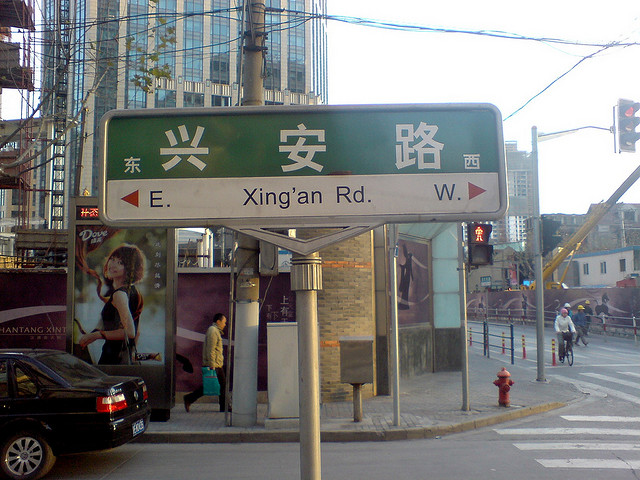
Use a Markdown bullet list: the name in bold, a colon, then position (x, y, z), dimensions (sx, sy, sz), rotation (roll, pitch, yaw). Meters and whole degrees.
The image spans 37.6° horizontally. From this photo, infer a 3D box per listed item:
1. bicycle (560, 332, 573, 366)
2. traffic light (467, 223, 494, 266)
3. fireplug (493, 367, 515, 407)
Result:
- **bicycle**: position (9.036, 3.901, 34.317), dimensions (0.464, 1.205, 0.660), rotation (3, 7, 28)
- **traffic light**: position (4.851, 0.143, 28.584), dimensions (0.729, 1.406, 1.080), rotation (1, 6, 10)
- **fireplug**: position (5.420, 4.274, 27.683), dimensions (0.514, 1.113, 0.798), rotation (1, 6, 10)
